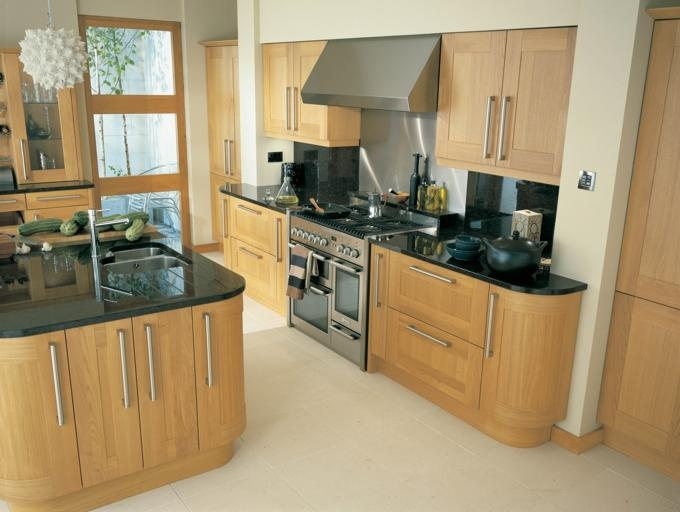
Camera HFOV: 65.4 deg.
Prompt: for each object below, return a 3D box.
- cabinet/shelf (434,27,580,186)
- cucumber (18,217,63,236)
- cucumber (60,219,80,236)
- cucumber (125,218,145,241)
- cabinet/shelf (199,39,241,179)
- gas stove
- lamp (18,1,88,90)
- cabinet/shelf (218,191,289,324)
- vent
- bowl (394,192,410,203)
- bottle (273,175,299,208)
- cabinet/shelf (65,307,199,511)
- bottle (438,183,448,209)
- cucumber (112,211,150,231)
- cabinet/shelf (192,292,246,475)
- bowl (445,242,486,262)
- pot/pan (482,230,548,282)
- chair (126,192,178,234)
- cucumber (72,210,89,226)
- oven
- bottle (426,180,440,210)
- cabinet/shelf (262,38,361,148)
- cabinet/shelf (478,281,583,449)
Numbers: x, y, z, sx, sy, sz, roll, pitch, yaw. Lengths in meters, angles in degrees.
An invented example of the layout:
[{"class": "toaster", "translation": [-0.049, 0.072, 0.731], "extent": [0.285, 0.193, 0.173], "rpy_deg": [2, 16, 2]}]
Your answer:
[{"class": "cabinet/shelf", "translation": [1.256, -1.005, 3.576], "extent": [0.495, 0.908, 1.200], "rpy_deg": [-14, 25, -25]}, {"class": "cucumber", "translation": [-2.232, -0.224, 4.010], "extent": [0.353, 0.111, 0.126], "rpy_deg": [-7, 26, -28]}, {"class": "cucumber", "translation": [-2.020, -0.217, 3.958], "extent": [0.089, 0.079, 0.161], "rpy_deg": [28, 6, -13]}, {"class": "cucumber", "translation": [-1.489, -0.193, 3.850], "extent": [0.122, 0.081, 0.212], "rpy_deg": [8, 27, -20]}, {"class": "cabinet/shelf", "translation": [-1.417, -1.751, 6.368], "extent": [0.233, 1.608, 0.858], "rpy_deg": [-10, 22, -28]}, {"class": "gas stove", "translation": [0.148, -0.319, 4.474], "extent": [0.873, 0.038, 0.543], "rpy_deg": [16, 31, 37]}, {"class": "lamp", "translation": [-1.676, -1.182, 3.110], "extent": [0.346, 0.365, 0.237], "rpy_deg": [-9, 21, -28]}, {"class": "cabinet/shelf", "translation": [-0.679, -0.078, 5.540], "extent": [0.620, 1.080, 1.493], "rpy_deg": [-12, 21, -36]}, {"class": "vent", "translation": [0.199, -1.492, 4.294], "extent": [0.406, 0.499, 1.306], "rpy_deg": [-30, 35, -31]}, {"class": "bowl", "translation": [0.552, -0.525, 4.686], "extent": [0.108, 0.050, 0.104], "rpy_deg": [0, 11, 0]}, {"class": "bottle", "translation": [-0.524, -0.626, 5.129], "extent": [0.392, 0.305, 0.336], "rpy_deg": [-1, 10, -9]}, {"class": "cabinet/shelf", "translation": [-1.270, 0.761, 3.001], "extent": [0.647, 0.853, 0.777], "rpy_deg": [9, 6, 26]}, {"class": "bottle", "translation": [0.870, -0.504, 4.443], "extent": [0.075, 0.221, 0.108], "rpy_deg": [2, 19, 1]}, {"class": "cucumber", "translation": [-1.595, -0.268, 3.936], "extent": [0.295, 0.115, 0.096], "rpy_deg": [-9, 6, 23]}, {"class": "cabinet/shelf", "translation": [-0.682, 0.680, 3.060], "extent": [0.146, 0.897, 0.385], "rpy_deg": [16, 24, 34]}, {"class": "bowl", "translation": [0.839, -0.015, 3.591], "extent": [0.178, 0.048, 0.151], "rpy_deg": [2, 20, 4]}, {"class": "pot/pan", "translation": [1.091, -0.033, 3.339], "extent": [0.400, 0.238, 0.328], "rpy_deg": [9, 25, 24]}, {"class": "chair", "translation": [-2.396, -0.661, 6.906], "extent": [0.648, 0.289, 0.337], "rpy_deg": [14, 17, -35]}, {"class": "cucumber", "translation": [-1.955, -0.292, 4.042], "extent": [0.148, 0.113, 0.061], "rpy_deg": [7, -1, 14]}, {"class": "oven", "translation": [0.085, 0.358, 4.723], "extent": [0.696, 0.967, 1.323], "rpy_deg": [-6, 14, -26]}, {"class": "bottle", "translation": [0.789, -0.492, 4.446], "extent": [0.083, 0.221, 0.118], "rpy_deg": [-5, 20, -17]}, {"class": "cabinet/shelf", "translation": [-0.238, -1.616, 5.248], "extent": [0.567, 0.943, 1.338], "rpy_deg": [-13, 26, -33]}, {"class": "cabinet/shelf", "translation": [1.191, 0.638, 3.302], "extent": [0.554, 0.892, 0.232], "rpy_deg": [6, 20, 13]}]
